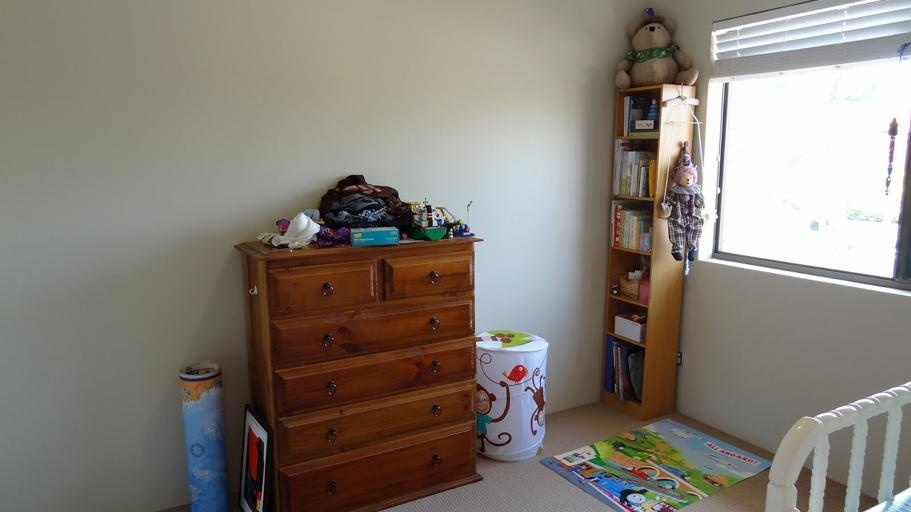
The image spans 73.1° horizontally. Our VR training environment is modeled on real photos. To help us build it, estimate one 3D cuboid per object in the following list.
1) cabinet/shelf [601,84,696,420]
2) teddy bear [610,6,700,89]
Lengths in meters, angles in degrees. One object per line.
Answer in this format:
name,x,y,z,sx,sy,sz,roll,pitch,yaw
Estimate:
cabinet/shelf,1.636,-0.025,5.261,0.694,2.788,0.643,4,14,24
teddy bear,1.691,-1.737,5.121,0.789,0.786,0.531,-2,-9,14
